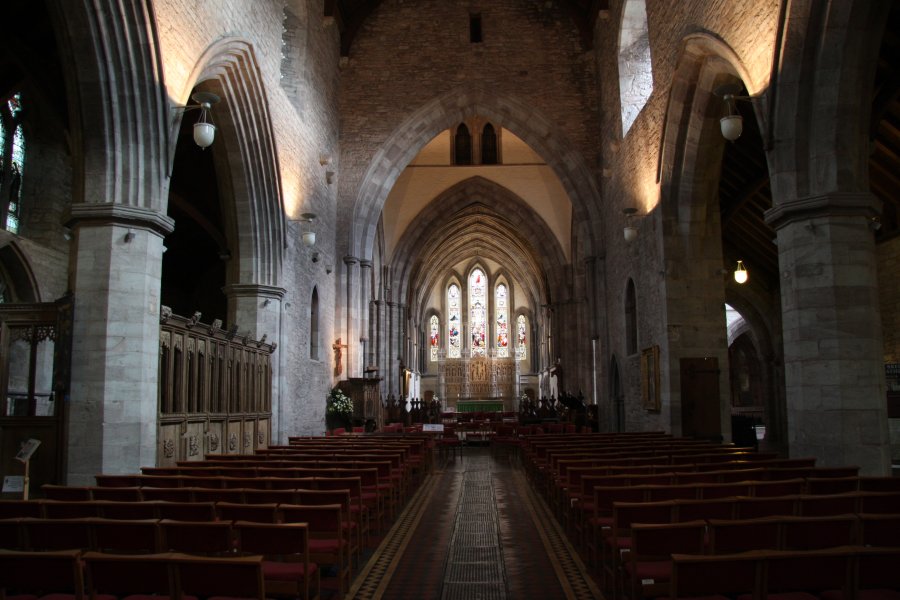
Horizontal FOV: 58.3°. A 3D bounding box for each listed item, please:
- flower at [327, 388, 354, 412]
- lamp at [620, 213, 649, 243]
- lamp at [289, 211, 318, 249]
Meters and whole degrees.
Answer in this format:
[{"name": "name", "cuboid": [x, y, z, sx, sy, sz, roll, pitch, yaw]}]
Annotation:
[{"name": "flower", "cuboid": [-3.412, 3.156, 25.103, 0.763, 0.769, 0.647, 7, -10, -30]}, {"name": "lamp", "cuboid": [4.975, -1.973, 21.845, 0.637, 0.959, 0.644, 2, -4, 9]}, {"name": "lamp", "cuboid": [-3.951, -1.984, 22.258, 0.868, 0.888, 0.207, -25, 40, -33]}]
